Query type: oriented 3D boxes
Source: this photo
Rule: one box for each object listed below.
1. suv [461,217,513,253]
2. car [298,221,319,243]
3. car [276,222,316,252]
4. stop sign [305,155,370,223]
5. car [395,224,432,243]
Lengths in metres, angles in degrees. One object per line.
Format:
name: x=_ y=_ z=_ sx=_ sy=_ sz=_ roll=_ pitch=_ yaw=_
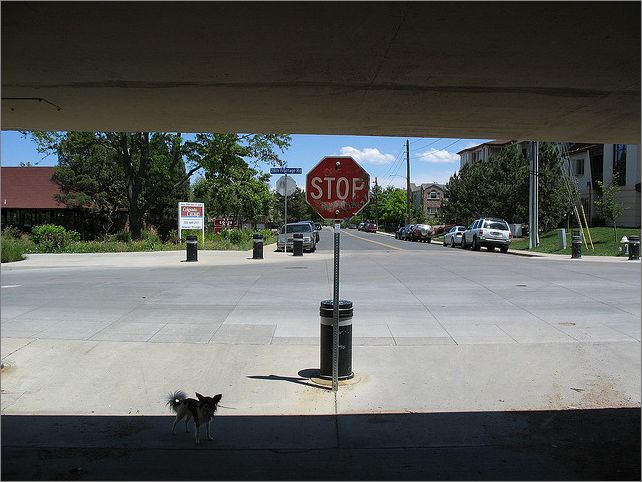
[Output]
suv: x=10.186 y=-0.408 z=33.197 sx=1.652 sy=1.409 sz=3.416 roll=2 pitch=5 yaw=-5
car: x=-0.950 y=-0.967 z=47.611 sx=1.885 sy=1.559 sz=3.047 roll=0 pitch=-5 yaw=-1
car: x=-1.461 y=-0.187 z=32.391 sx=2.151 sy=1.465 sz=5.077 roll=0 pitch=5 yaw=-3
stop sign: x=0.217 y=-0.717 z=7.334 sx=0.946 sy=0.870 sz=0.117 roll=-3 pitch=9 yaw=-18
car: x=9.391 y=-0.722 z=51.988 sx=1.718 sy=1.118 sz=3.716 roll=1 pitch=3 yaw=-9
